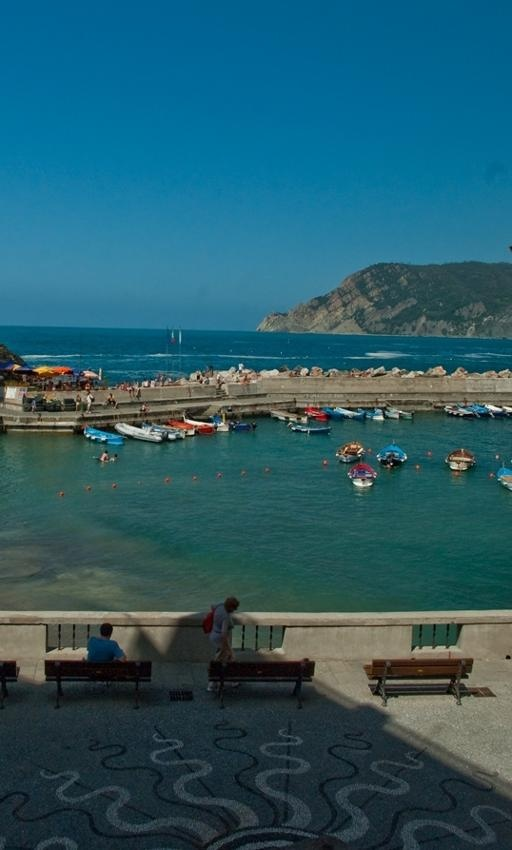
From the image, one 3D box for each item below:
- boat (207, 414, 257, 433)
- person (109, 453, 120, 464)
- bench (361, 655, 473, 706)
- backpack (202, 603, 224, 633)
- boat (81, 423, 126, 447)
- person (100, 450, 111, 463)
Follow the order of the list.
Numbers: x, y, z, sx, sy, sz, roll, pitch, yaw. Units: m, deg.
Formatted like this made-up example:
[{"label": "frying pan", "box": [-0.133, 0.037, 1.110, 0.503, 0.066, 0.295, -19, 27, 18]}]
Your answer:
[{"label": "boat", "box": [-1.963, 0.034, 67.600, 3.756, 1.014, 1.458, 1, 8, 8]}, {"label": "person", "box": [-8.189, 1.974, 52.752, 0.588, 0.424, 1.383, 2, -9, -26]}, {"label": "bench", "box": [2.128, 3.261, 12.003, 1.339, 0.646, 0.714, 2, 14, -5]}, {"label": "backpack", "box": [-0.582, 2.546, 11.909, 0.381, 0.356, 0.276, 4, -19, -1]}, {"label": "boat", "box": [-10.174, 0.767, 59.008, 1.179, 0.725, 3.620, -19, 29, -39]}, {"label": "person", "box": [-8.571, 1.857, 51.828, 0.544, 0.386, 0.755, 4, 5, 3]}]
